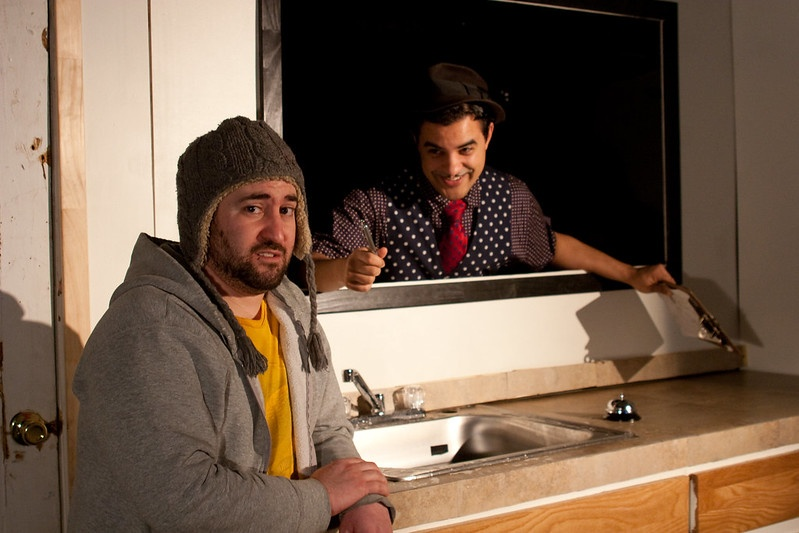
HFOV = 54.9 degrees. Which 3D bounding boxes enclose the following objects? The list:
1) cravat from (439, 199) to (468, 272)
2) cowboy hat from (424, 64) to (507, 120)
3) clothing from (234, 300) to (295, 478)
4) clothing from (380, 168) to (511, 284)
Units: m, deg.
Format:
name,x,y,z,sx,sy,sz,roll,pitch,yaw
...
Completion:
name,x,y,z,sx,sy,sz,roll,pitch,yaw
cravat,0.193,-0.112,2.830,0.126,0.338,0.045,-12,38,-13
cowboy hat,0.236,-0.628,2.797,0.324,0.206,0.041,-4,7,-29
clothing,-0.345,0.344,2.115,0.090,0.384,0.220,-10,-16,18
clothing,0.144,-0.155,2.801,0.393,0.306,0.060,-5,7,-22
